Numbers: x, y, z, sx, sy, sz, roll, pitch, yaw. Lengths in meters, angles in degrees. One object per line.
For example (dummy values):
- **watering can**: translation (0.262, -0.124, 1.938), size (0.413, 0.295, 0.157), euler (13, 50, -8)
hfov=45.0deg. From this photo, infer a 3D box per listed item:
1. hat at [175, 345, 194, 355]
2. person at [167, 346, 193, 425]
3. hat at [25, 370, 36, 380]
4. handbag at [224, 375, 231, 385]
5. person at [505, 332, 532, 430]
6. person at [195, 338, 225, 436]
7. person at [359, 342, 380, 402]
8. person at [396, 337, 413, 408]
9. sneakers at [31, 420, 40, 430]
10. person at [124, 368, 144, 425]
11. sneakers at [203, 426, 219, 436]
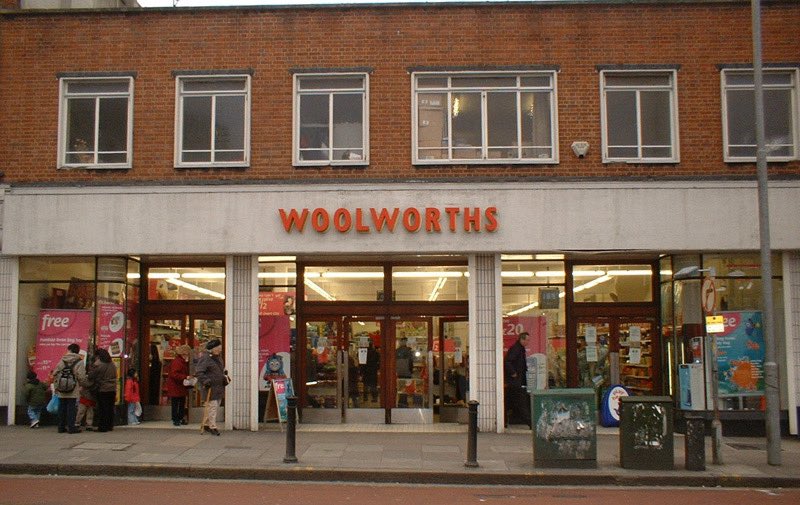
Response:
- **hat**: translation (-6.345, 2.835, 28.360), size (0.286, 0.371, 0.373), euler (0, 3, 9)
- **person**: translation (-6.500, 3.880, 28.430), size (0.624, 2.315, 0.877), euler (0, -8, -4)
- **hat**: translation (-10.483, 3.467, 27.480), size (0.233, 0.263, 0.268), euler (3, 3, 27)
- **handbag**: translation (-4.848, 3.559, 27.073), size (0.161, 0.193, 0.315), euler (39, 15, -30)
- **person**: translation (3.403, 3.650, 28.114), size (0.722, 2.710, 0.490), euler (1, -8, -4)
- **person**: translation (-5.306, 3.750, 27.236), size (0.867, 2.655, 1.369), euler (1, -8, -11)
- **person**: translation (-0.873, 3.529, 28.725), size (0.557, 1.754, 0.150), euler (1, -8, -5)
- **person**: translation (0.165, 3.531, 28.749), size (0.536, 2.032, 0.164), euler (0, -8, 1)
- **sneakers**: translation (-10.351, 4.869, 27.400), size (0.123, 0.147, 0.337), euler (-9, -26, -42)
- **person**: translation (-7.781, 4.185, 28.200), size (0.419, 1.598, 1.002), euler (-1, -8, 10)
- **sneakers**: translation (-5.293, 4.976, 26.937), size (0.606, 0.273, 0.197), euler (-4, -8, 38)
